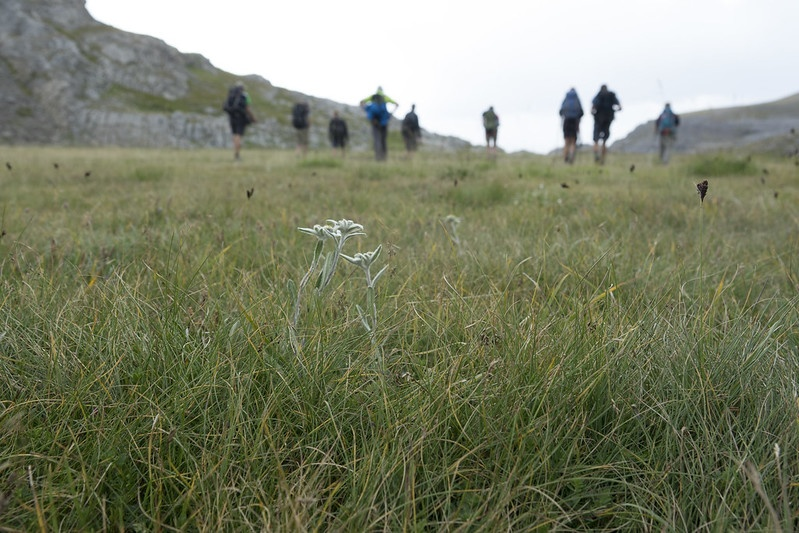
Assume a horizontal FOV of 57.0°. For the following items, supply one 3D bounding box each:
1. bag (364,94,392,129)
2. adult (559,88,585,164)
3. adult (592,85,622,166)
[{"bbox_3d":[-0.249,-1.847,8.804,0.340,0.430,0.447,-5,17,-8],"label":"bag"},{"bbox_3d":[1.841,-1.476,7.825,0.280,0.939,0.253,6,58,14],"label":"adult"},{"bbox_3d":[2.480,-1.724,8.937,0.369,1.047,0.209,1,35,11],"label":"adult"}]
